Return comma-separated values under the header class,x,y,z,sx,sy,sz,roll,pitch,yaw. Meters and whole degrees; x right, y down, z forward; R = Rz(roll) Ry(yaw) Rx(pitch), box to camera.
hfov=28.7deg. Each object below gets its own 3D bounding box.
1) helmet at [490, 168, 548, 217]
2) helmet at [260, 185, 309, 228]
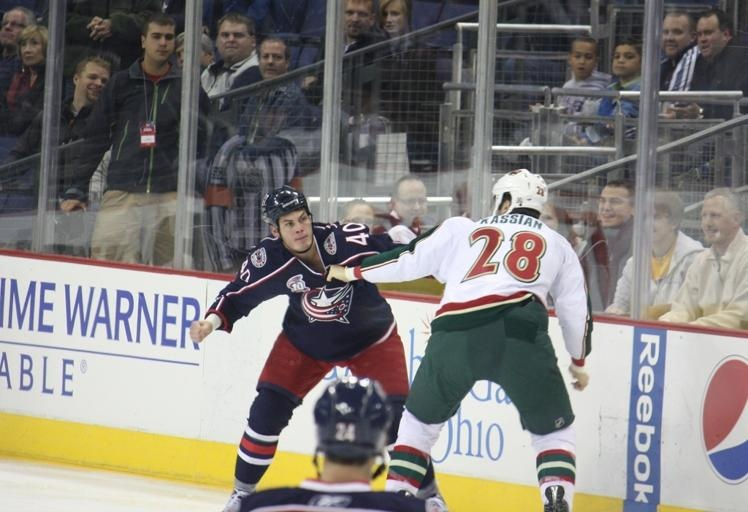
class,x,y,z,sx,sy,sz,roll,pitch,yaw
helmet,0.924,-0.353,9.290,0.375,0.353,0.310,-2,-10,43
helmet,-0.589,-0.352,9.419,0.252,0.261,0.274,-15,-12,-20
